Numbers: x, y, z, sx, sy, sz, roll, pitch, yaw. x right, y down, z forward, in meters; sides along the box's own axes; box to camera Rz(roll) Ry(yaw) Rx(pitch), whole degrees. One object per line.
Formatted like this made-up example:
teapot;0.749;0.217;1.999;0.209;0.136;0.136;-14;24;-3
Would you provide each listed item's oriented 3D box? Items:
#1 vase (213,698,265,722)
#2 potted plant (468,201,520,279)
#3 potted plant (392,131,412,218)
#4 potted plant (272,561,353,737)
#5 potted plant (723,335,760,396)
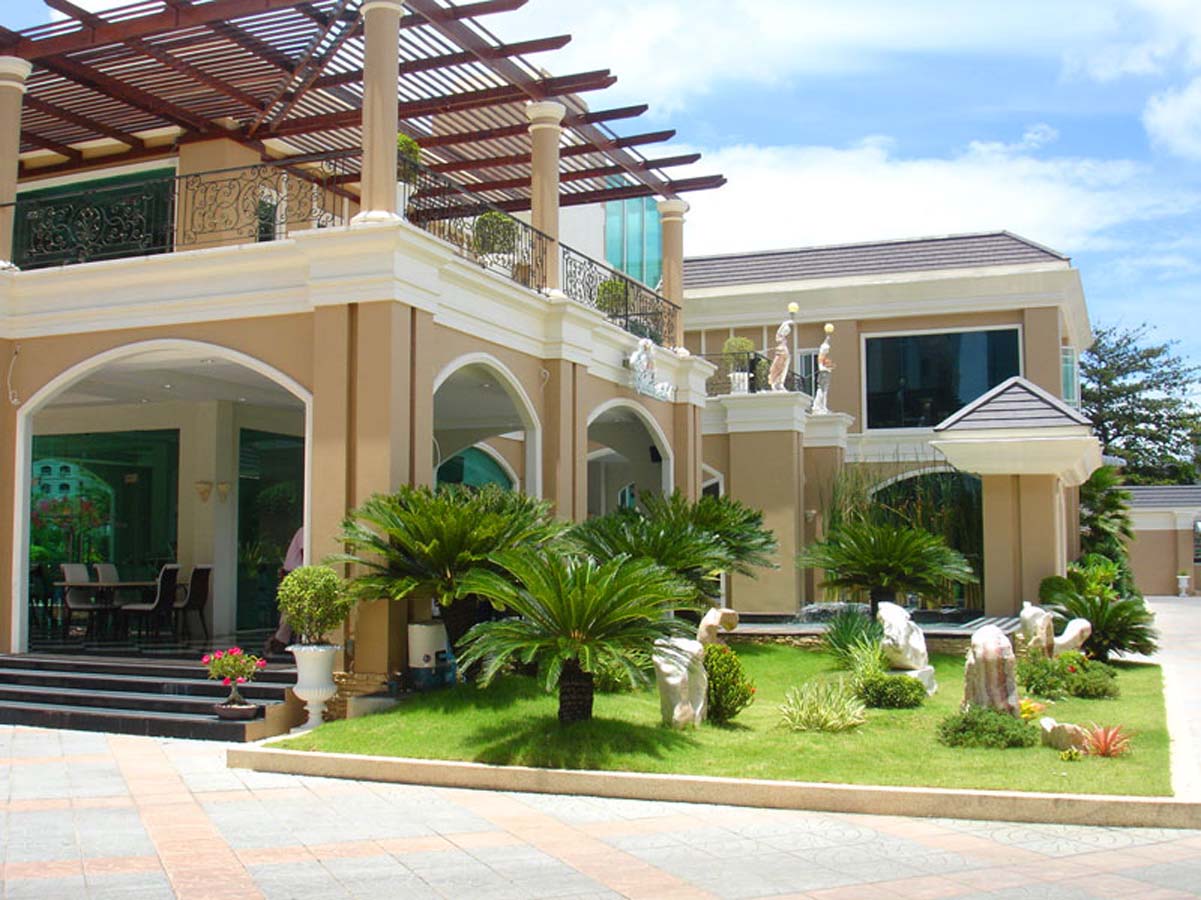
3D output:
vase;-3.697;2.662;11.034;0.461;0.184;0.282;2;-7;-20
potted plant;-1.422;-2.870;14.318;0.661;0.758;0.678;-1;3;-36
potted plant;-2.410;-3.512;13.493;0.302;0.934;0.328;-3;16;-15
potted plant;-2.922;2.007;11.076;0.733;1.665;0.801;1;-7;-11
potted plant;2.918;-1.713;22.227;0.705;1.170;0.777;-1;-7;7
